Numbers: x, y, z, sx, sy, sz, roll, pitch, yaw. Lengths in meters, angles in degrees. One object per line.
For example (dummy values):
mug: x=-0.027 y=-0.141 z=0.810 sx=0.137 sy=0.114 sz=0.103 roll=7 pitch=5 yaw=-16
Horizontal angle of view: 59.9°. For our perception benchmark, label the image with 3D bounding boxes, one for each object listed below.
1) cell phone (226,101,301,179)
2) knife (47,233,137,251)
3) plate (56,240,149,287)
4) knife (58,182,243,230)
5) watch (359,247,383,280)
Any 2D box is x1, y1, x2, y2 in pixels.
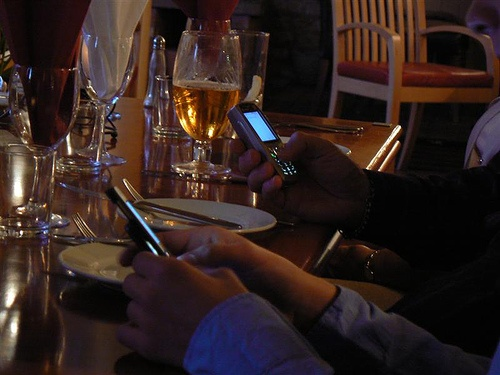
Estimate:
cell phone: x=0.012 y=-0.085 z=0.733 sx=0.072 sy=0.038 sz=0.170 roll=-9 pitch=63 yaw=-49
knife: x=-0.176 y=0.060 z=0.477 sx=0.071 sy=0.009 sz=0.009 roll=16 pitch=-28 yaw=-17
plate: x=-0.155 y=0.073 z=0.429 sx=0.048 sy=0.009 sz=0.047 roll=-8 pitch=25 yaw=-44
knife: x=-0.142 y=0.025 z=0.581 sx=0.211 sy=0.013 sz=0.019 roll=11 pitch=21 yaw=13
watch: x=0.302 y=0.199 z=1.109 sx=0.045 sy=0.064 sz=0.065 roll=0 pitch=3 yaw=0
